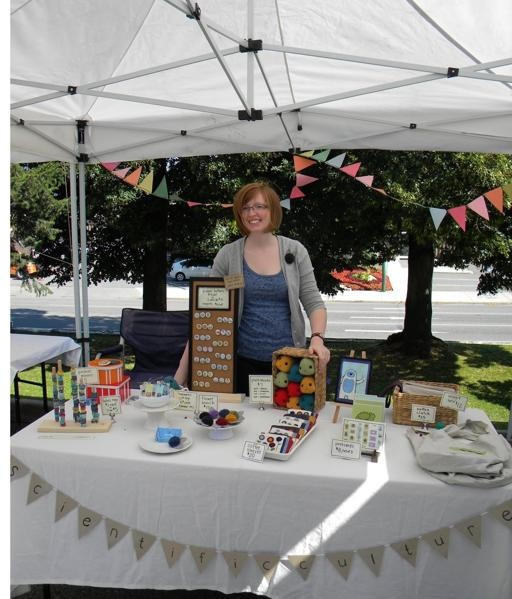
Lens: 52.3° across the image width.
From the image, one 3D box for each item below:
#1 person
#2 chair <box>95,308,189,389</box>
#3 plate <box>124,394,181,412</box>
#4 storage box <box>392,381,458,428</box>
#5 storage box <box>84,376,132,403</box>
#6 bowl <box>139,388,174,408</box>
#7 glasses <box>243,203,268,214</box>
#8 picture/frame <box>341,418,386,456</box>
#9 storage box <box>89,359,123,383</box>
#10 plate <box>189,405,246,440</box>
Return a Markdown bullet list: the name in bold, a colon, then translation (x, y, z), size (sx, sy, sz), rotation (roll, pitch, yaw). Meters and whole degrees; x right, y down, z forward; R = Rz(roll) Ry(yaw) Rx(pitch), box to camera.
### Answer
- **person**: translation (0.046, -0.030, 2.206), size (0.495, 0.904, 0.420), rotation (0, 10, 5)
- **chair**: translation (-0.766, 0.293, 3.493), size (0.582, 0.761, 0.586), rotation (1, -1, 2)
- **plate**: translation (-0.377, 0.373, 1.876), size (0.107, 0.022, 0.104), rotation (1, -1, 16)
- **storage box**: translation (0.610, 0.389, 1.919), size (0.232, 0.119, 0.159), rotation (1, 4, 12)
- **storage box**: translation (-0.574, 0.367, 2.114), size (0.120, 0.067, 0.112), rotation (1, 5, 13)
- **bowl**: translation (-0.362, 0.346, 1.871), size (0.078, 0.030, 0.074), rotation (0, 0, 0)
- **glasses**: translation (-0.006, -0.370, 2.143), size (0.061, 0.019, 0.061), rotation (-2, -13, 9)
- **picture/frame**: translation (0.357, 0.439, 1.695), size (0.123, 0.107, 0.033), rotation (2, -5, 22)
- **storage box**: translation (-0.606, 0.280, 2.096), size (0.108, 0.065, 0.109), rotation (1, 2, 32)
- **plate**: translation (-0.131, 0.415, 1.806), size (0.135, 0.064, 0.123), rotation (0, 0, -2)
